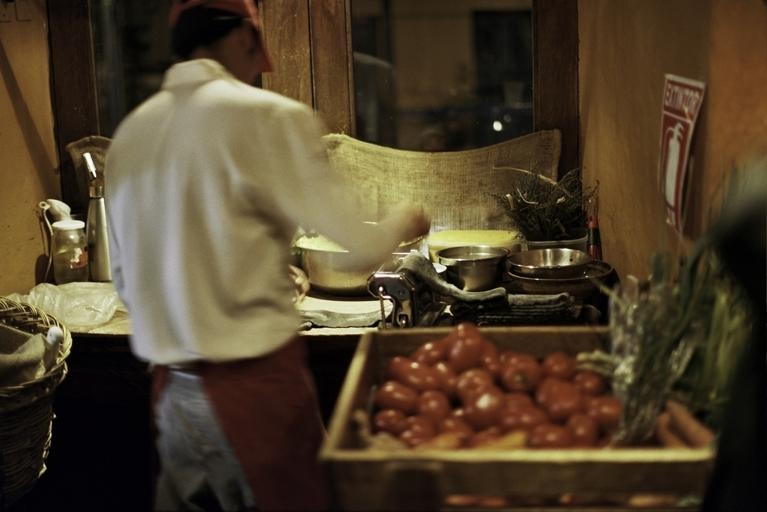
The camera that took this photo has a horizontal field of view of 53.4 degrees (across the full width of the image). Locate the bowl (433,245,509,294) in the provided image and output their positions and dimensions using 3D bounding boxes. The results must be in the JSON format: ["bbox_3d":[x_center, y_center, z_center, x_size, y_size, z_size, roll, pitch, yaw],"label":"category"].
[{"bbox_3d":[0.301,0.042,2.644,0.240,0.113,0.272,5,16,29],"label":"bowl"}]

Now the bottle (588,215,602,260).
[{"bbox_3d":[0.843,-0.066,2.979,0.056,0.184,0.232,1,14,16],"label":"bottle"}]

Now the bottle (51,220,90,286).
[{"bbox_3d":[-1.313,0.001,3.221,0.178,0.293,0.176,-1,12,0],"label":"bottle"}]
